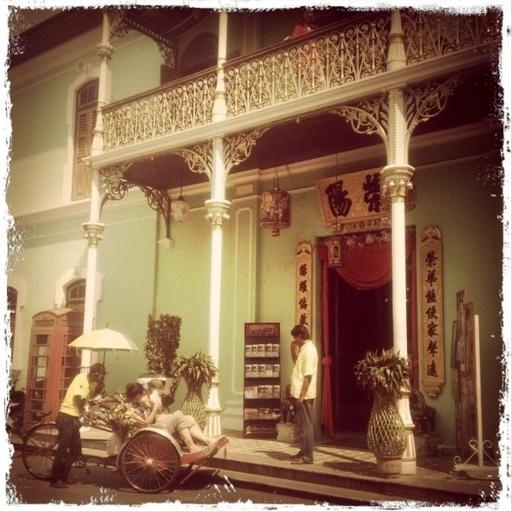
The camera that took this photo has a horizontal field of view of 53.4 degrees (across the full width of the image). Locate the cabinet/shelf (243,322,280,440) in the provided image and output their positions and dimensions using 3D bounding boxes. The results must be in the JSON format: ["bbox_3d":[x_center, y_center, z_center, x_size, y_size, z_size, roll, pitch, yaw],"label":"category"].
[{"bbox_3d":[0.116,2.188,9.083,0.653,1.989,0.376,0,-10,1],"label":"cabinet/shelf"}]

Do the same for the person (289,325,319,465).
[{"bbox_3d":[0.639,1.793,6.728,0.327,1.749,0.433,0,-10,4],"label":"person"}]

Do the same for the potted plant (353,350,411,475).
[{"bbox_3d":[1.494,1.797,5.930,0.621,1.379,0.340,-2,-11,14],"label":"potted plant"}]

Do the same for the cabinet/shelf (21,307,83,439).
[{"bbox_3d":[-4.305,2.156,10.647,1.122,3.728,0.890,-5,-7,43],"label":"cabinet/shelf"}]

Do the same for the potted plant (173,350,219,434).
[{"bbox_3d":[-0.988,2.150,8.048,0.657,1.214,0.766,-4,-4,-17],"label":"potted plant"}]

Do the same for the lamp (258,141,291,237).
[{"bbox_3d":[0.376,-1.100,9.238,0.475,1.529,0.522,-7,-20,25],"label":"lamp"}]

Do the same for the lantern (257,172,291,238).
[{"bbox_3d":[0.349,-0.835,9.053,0.511,0.857,0.394,1,-11,-2],"label":"lantern"}]

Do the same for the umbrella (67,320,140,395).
[{"bbox_3d":[-2.522,1.662,8.484,0.618,1.102,0.687,-5,-3,41],"label":"umbrella"}]

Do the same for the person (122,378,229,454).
[{"bbox_3d":[-1.101,2.101,6.554,1.620,1.211,0.698,0,-5,24],"label":"person"}]

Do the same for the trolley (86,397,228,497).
[{"bbox_3d":[-1.497,2.347,6.300,1.676,0.984,1.002,2,-18,19],"label":"trolley"}]
